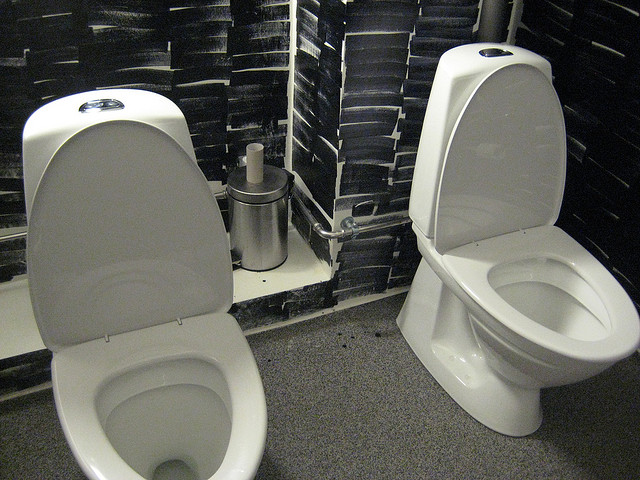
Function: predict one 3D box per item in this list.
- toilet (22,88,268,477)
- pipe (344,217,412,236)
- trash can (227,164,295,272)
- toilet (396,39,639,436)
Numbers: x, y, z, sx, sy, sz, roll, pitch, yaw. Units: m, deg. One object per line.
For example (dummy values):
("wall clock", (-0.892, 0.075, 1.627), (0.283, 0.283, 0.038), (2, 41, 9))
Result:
("toilet", (-0.423, 0.180, 1.254), (0.469, 0.772, 0.713), (-14, 47, -14))
("pipe", (0.192, -0.050, 1.844), (0.200, 0.024, 0.026), (-11, 26, -25))
("trash can", (-0.223, -0.072, 1.918), (0.273, 0.318, 0.192), (-5, 33, -8))
("toilet", (0.567, 0.030, 1.578), (0.485, 0.917, 0.812), (-16, 48, -16))
